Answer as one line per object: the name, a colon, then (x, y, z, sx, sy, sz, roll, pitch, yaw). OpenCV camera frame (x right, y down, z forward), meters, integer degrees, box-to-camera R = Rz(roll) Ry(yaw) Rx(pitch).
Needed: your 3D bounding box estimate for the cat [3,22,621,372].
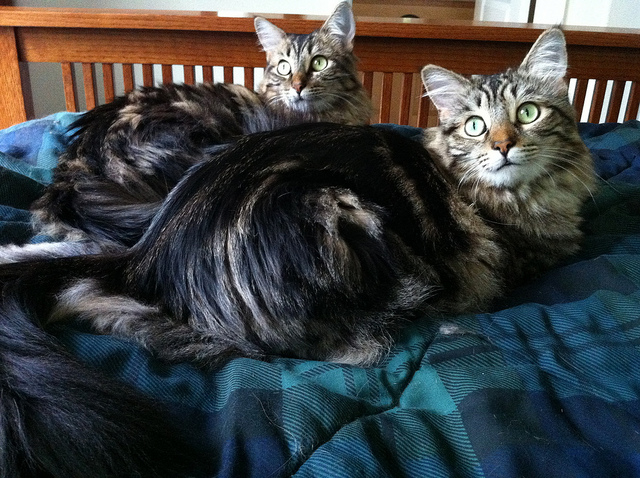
cat: (0.348, -0.233, 1.703, 2.303, 0.713, 0.684, -15, 36, -19)

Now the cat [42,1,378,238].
cat: (-0.264, -0.465, 2.141, 1.506, 0.718, 0.847, -16, 24, -26)
